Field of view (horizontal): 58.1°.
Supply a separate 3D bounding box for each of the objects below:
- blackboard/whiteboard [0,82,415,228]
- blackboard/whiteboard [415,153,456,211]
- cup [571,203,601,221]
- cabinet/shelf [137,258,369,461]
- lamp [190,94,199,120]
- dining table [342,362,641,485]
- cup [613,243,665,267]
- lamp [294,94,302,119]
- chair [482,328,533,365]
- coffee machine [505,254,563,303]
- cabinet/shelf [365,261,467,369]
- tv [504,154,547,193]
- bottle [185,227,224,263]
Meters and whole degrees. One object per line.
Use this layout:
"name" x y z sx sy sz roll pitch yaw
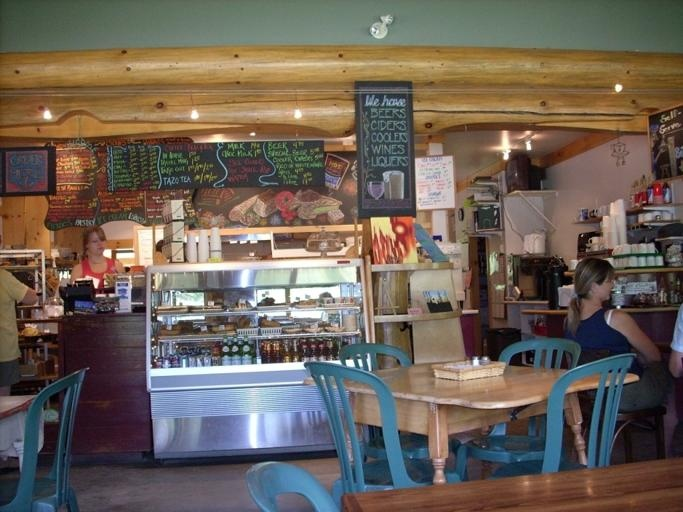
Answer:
"blackboard/whiteboard" -1.468 -1.029 7.391 4.783 1.422 2.537 -2 4 8
"blackboard/whiteboard" 1.012 -0.808 6.678 0.407 0.591 0.299 -3 5 7
"cup" 3.664 -0.628 9.136 0.384 0.238 0.225 -3 -5 37
"cabinet/shelf" -0.799 0.893 5.149 2.087 1.497 0.723 -1 -5 -5
"lamp" -1.459 -1.470 6.086 0.074 0.228 0.127 -6 5 -24
"dining table" 0.590 0.799 3.399 0.988 0.327 1.008 1 -5 -31
"cup" 3.239 0.001 6.836 0.319 0.143 0.397 0 -4 -2
"lamp" -0.444 -1.495 6.118 0.076 0.246 0.183 -4 5 -3
"chair" 2.537 1.440 9.422 0.519 0.589 0.453 -4 0 0
"coffee machine" 2.849 0.313 9.095 0.842 0.547 0.395 1 10 15
"cabinet/shelf" 0.657 0.680 5.897 1.005 0.835 0.674 -1 -15 -39
"tv" 3.140 -1.405 10.627 0.615 0.617 0.621 -3 3 9
"bottle" -1.342 -0.105 5.996 0.531 0.432 0.181 -1 4 -29
